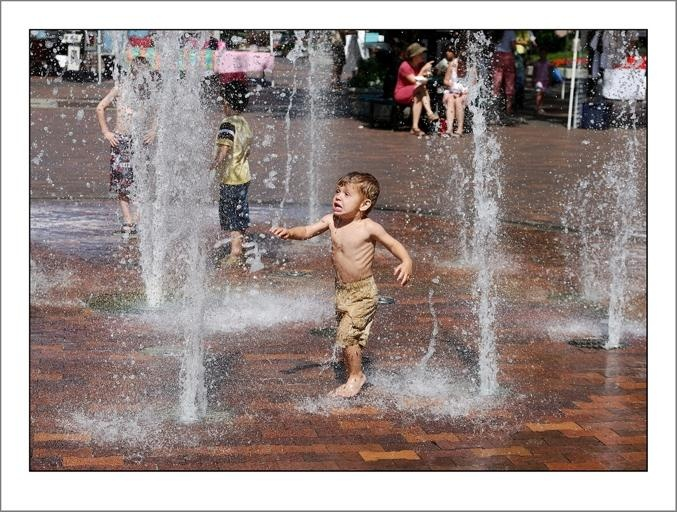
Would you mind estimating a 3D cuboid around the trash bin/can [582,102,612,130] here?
[{"bbox_3d":[4.559,-2.495,16.528,0.552,0.541,0.526,-1,5,3],"label":"trash bin/can"}]

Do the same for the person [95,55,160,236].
[{"bbox_3d":[-2.050,-1.061,9.113,0.558,1.789,0.651,1,11,5],"label":"person"}]

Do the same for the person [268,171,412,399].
[{"bbox_3d":[0.073,0.191,6.256,0.817,1.513,0.579,1,10,5],"label":"person"}]

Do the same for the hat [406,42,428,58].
[{"bbox_3d":[1.237,-3.306,14.930,0.268,0.237,0.377,1,10,4],"label":"hat"}]
